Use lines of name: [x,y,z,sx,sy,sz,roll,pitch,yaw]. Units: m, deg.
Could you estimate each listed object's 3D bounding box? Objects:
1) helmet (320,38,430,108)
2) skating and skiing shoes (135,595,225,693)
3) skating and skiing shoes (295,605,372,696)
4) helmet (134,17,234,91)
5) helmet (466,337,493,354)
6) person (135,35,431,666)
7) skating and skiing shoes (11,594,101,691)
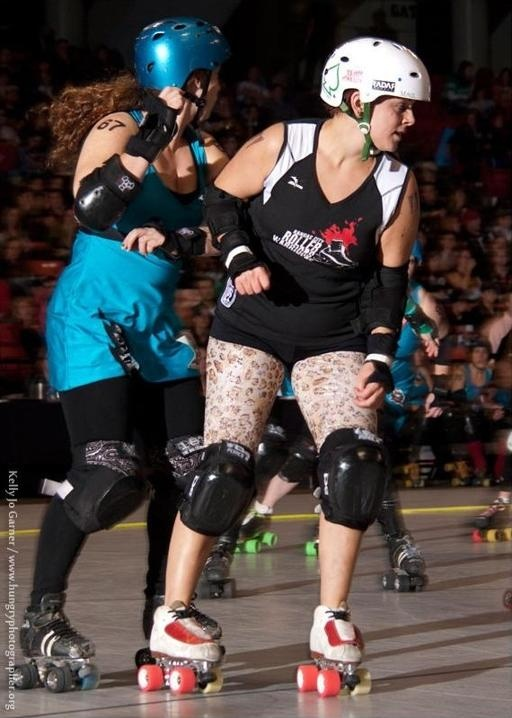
helmet: [0.261,-0.609,1.433,0.249,0.125,0.171,17,34,19]
skating and skiing shoes: [-0.207,0.586,1.430,0.115,0.159,0.301,7,-8,-37]
skating and skiing shoes: [0.159,0.590,1.347,0.107,0.140,0.260,5,-18,-8]
helmet: [-0.176,-0.801,1.778,0.250,0.166,0.161,8,45,5]
helmet: [2.700,-0.177,8.205,0.362,0.207,0.320,0,-4,3]
person: [0.080,0.030,1.438,0.462,1.289,0.832,6,30,5]
skating and skiing shoes: [-0.422,0.604,1.447,0.206,0.176,0.114,-15,-22,33]
